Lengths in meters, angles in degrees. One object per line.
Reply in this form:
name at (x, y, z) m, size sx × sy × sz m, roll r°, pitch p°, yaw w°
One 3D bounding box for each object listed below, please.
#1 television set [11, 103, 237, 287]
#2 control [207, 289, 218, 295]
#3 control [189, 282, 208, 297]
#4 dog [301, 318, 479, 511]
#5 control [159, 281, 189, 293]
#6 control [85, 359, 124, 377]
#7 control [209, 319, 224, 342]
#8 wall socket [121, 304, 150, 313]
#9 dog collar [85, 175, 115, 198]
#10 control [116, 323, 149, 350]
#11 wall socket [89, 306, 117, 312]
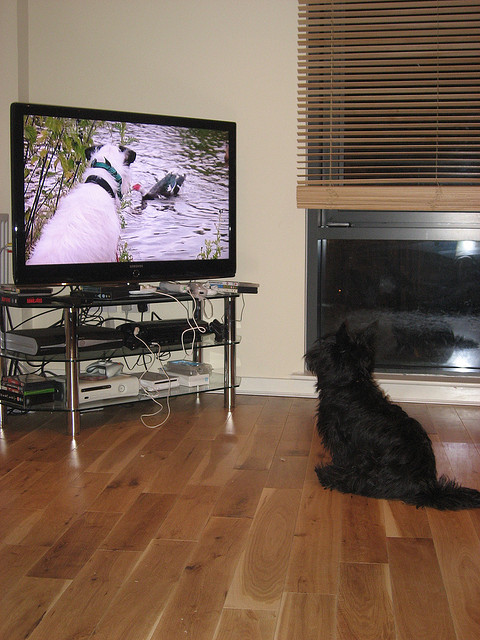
television set at (-0.574, -0.591, 2.628) m, size 1.032 × 0.670 × 0.104 m, roll -4°, pitch 12°, yaw -24°
control at (-0.142, -0.145, 2.813) m, size 0.061 × 0.026 × 0.018 m, roll -2°, pitch 4°, yaw -32°
control at (-0.214, -0.160, 2.779) m, size 0.083 × 0.027 × 0.060 m, roll 31°, pitch 26°, yaw 26°
dog at (0.465, 0.295, 1.838) m, size 0.346 × 0.556 × 0.630 m, roll -1°, pitch 3°, yaw -19°
control at (-0.350, -0.172, 2.845) m, size 0.104 × 0.035 × 0.071 m, roll 5°, pitch 11°, yaw -1°
control at (-0.661, 0.237, 2.758) m, size 0.109 × 0.048 × 0.096 m, roll 7°, pitch 5°, yaw 23°
control at (-0.124, 0.060, 2.911) m, size 0.076 × 0.113 × 0.087 m, roll 0°, pitch 3°, yaw 0°
wall socket at (-0.607, -0.083, 3.190) m, size 0.131 × 0.081 × 0.067 m, roll -2°, pitch 12°, yaw -4°
dog collar at (-0.659, -0.627, 2.576) m, size 0.075 × 0.035 × 0.098 m, roll 22°, pitch -15°, yaw 43°
control at (-0.506, 0.078, 2.569) m, size 0.111 × 0.111 × 0.130 m, roll 5°, pitch -8°, yaw -8°
wall socket at (-0.765, -0.063, 3.176) m, size 0.086 × 0.019 × 0.077 m, roll 1°, pitch 8°, yaw 2°
